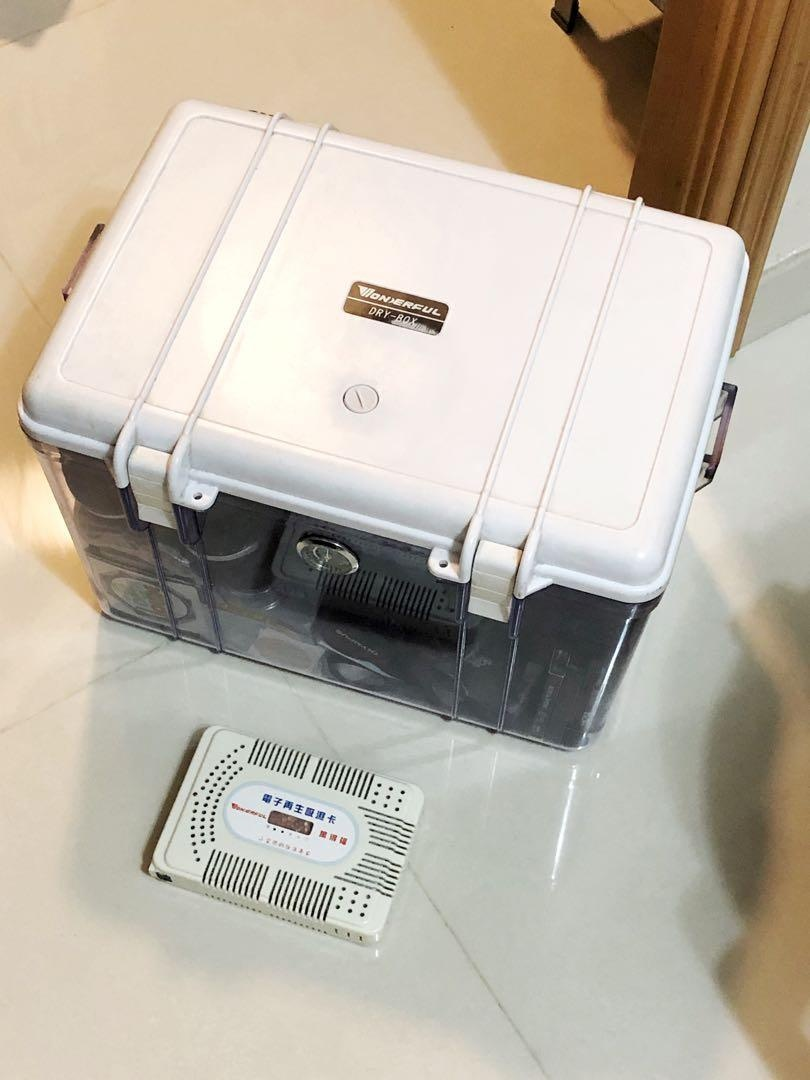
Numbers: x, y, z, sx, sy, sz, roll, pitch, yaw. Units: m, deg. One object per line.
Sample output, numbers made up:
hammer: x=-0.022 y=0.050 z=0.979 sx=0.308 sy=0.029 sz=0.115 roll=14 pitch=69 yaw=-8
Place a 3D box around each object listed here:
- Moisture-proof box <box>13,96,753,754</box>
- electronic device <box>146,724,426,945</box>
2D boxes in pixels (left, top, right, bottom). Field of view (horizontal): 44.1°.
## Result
Moisture-proof box: x=-0.004 y=-0.105 z=0.817 sx=0.490 sy=0.316 sz=0.308 roll=12 pitch=72 yaw=6
electronic device: x=-0.095 y=0.235 z=0.818 sx=0.194 sy=0.027 sz=0.131 roll=13 pitch=55 yaw=7
